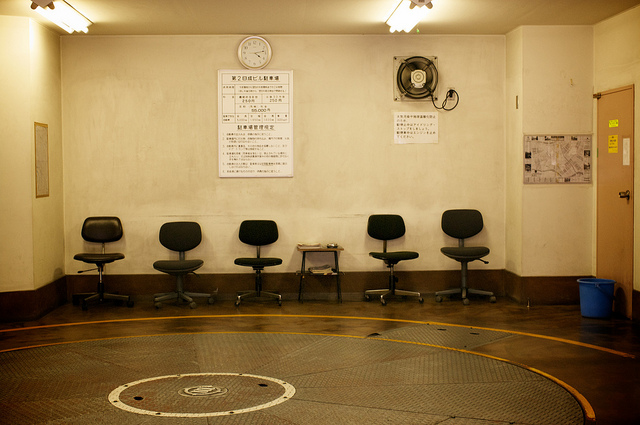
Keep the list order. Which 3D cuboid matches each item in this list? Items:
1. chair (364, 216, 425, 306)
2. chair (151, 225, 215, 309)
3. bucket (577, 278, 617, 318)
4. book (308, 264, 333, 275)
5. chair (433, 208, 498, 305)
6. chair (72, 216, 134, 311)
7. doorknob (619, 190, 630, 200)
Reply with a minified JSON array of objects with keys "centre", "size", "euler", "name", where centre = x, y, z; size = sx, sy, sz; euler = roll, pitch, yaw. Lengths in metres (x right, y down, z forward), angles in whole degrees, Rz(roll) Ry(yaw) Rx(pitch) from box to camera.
[{"centre":[1.118,0.715,7.293],"size":[0.856,1.295,0.615],"euler":[0,6,3],"name":"chair"},{"centre":[-2.110,0.770,7.078],"size":[0.980,1.123,0.872],"euler":[-2,3,3],"name":"chair"},{"centre":[3.790,1.172,6.575],"size":[0.525,0.449,0.506],"euler":[3,-3,0],"name":"bucket"},{"centre":[0.018,0.885,7.378],"size":[0.370,0.136,0.257],"euler":[0,6,3],"name":"book"},{"centre":[2.230,0.651,7.331],"size":[0.928,1.395,0.673],"euler":[1,6,10],"name":"chair"},{"centre":[-3.252,0.730,7.129],"size":[0.964,1.223,0.909],"euler":[0,3,-20],"name":"chair"},{"centre":[4.100,-0.244,6.421],"size":[0.036,0.125,0.156],"euler":[-1,6,-11],"name":"doorknob"}]
